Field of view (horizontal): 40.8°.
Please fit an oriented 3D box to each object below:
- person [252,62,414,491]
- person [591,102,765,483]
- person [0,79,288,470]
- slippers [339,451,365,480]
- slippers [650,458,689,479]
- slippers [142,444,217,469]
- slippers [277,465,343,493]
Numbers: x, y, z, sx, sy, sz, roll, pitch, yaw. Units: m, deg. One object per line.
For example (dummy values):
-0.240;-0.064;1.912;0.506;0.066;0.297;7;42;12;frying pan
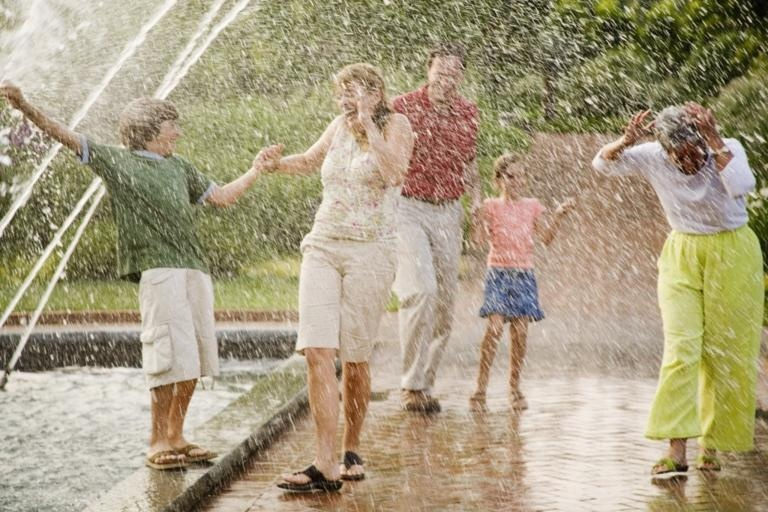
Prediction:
-0.260;0.142;8.029;0.851;3.232;0.892;1;8;13;person
2.480;0.200;8.249;1.085;2.799;0.664;0;8;13;person
-1.810;0.183;8.241;1.462;2.849;0.781;-3;8;-8;person
-0.258;1.657;8.156;0.149;0.153;0.412;0;-7;-2;slippers
2.289;1.668;8.192;0.349;0.128;0.108;-4;9;-14;slippers
-1.633;1.595;8.157;0.381;0.109;0.232;-3;-1;15;slippers
-0.578;1.733;8.039;0.498;0.241;0.196;5;-11;-3;slippers
